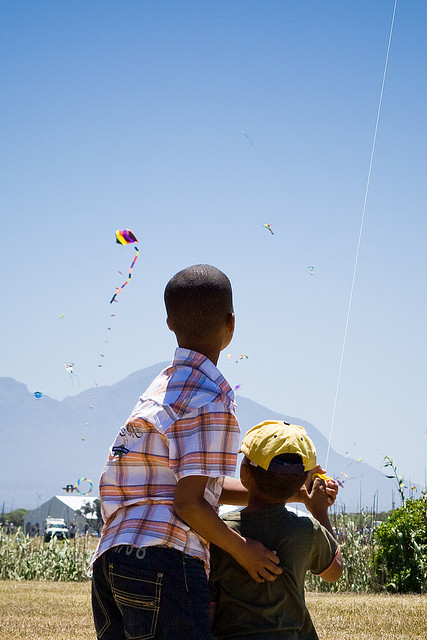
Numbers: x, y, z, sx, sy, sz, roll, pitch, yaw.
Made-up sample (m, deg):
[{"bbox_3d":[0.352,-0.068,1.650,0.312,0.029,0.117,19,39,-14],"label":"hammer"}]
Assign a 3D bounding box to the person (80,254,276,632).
[{"bbox_3d":[-0.070,0.340,2.077,0.535,1.079,0.323,4,-17,3],"label":"person"}]
